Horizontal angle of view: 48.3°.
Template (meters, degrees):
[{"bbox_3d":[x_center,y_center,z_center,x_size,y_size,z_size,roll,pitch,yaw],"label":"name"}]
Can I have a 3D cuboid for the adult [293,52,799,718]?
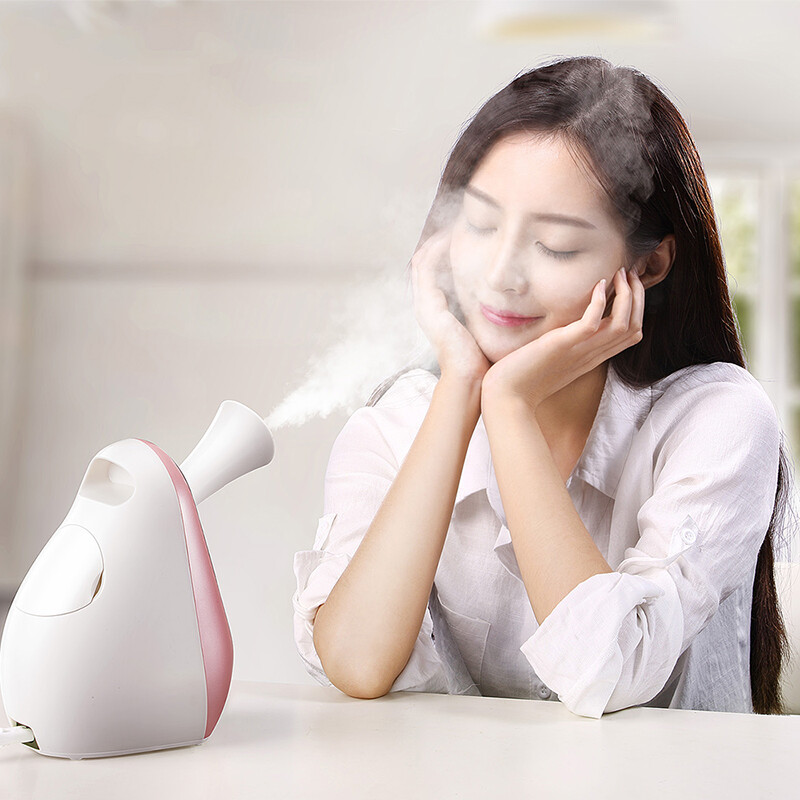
[{"bbox_3d":[0.209,0.018,1.143,0.545,0.887,0.562,-2,-17,28],"label":"adult"}]

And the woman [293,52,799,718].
[{"bbox_3d":[0.186,0.010,1.126,0.542,0.864,0.554,3,-10,21],"label":"woman"}]
